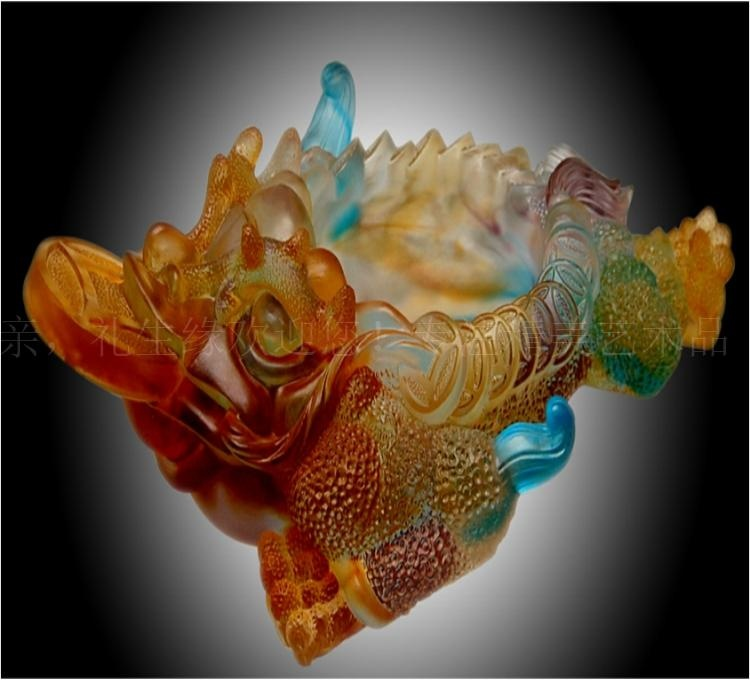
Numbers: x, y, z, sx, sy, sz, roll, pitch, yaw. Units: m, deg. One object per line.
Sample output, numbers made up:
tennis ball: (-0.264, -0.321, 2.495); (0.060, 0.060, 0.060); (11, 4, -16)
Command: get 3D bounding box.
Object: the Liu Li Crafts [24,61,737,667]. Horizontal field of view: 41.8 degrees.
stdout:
Liu Li Crafts: (-0.013, 0.002, 2.017); (1.173, 0.731, 1.155); (-19, 49, -21)
